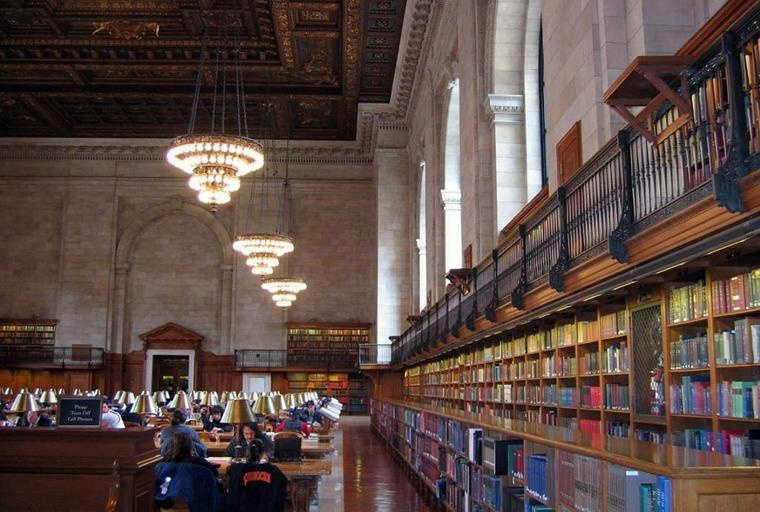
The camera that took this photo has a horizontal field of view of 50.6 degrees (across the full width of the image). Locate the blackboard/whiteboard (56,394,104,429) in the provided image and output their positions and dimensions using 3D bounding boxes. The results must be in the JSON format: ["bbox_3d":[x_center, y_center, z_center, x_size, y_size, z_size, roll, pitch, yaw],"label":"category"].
[{"bbox_3d":[-2.674,1.395,7.128,0.343,0.247,0.048,0,-18,-3],"label":"blackboard/whiteboard"}]

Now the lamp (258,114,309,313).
[{"bbox_3d":[-2.539,-1.381,19.787,0.766,3.233,0.763,9,6,21],"label":"lamp"}]
